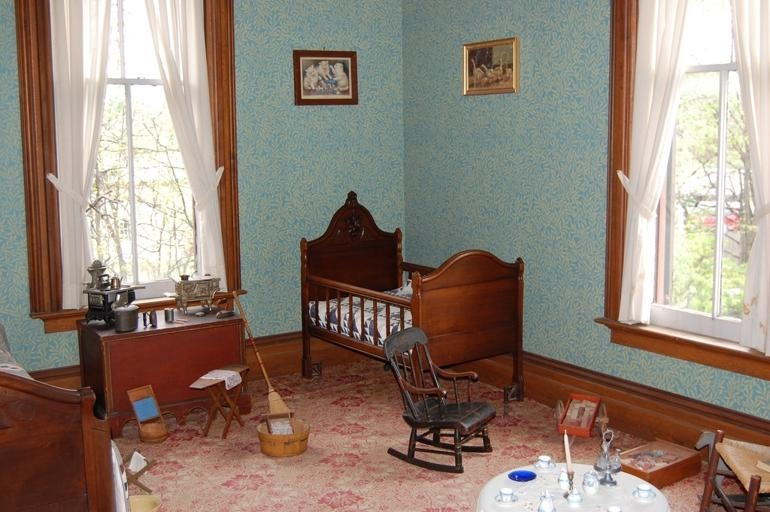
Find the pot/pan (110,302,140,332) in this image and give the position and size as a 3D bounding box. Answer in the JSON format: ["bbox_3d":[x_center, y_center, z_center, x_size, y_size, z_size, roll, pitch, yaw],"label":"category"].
[{"bbox_3d":[-2.175,0.513,4.897,0.206,0.183,0.204,-1,1,-41],"label":"pot/pan"}]

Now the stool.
[{"bbox_3d":[-1.524,1.206,5.049,0.361,0.602,0.642,5,6,38],"label":"stool"}]

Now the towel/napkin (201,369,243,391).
[{"bbox_3d":[-1.388,1.046,4.958,0.311,0.121,0.240,-1,13,3],"label":"towel/napkin"}]

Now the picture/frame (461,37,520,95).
[{"bbox_3d":[1.034,-1.850,5.645,0.049,0.472,0.620,-11,14,-40],"label":"picture/frame"}]

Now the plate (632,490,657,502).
[{"bbox_3d":[1.413,1.314,3.197,0.066,0.016,0.068,-1,9,3],"label":"plate"}]

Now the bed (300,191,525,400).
[{"bbox_3d":[0.172,0.462,5.956,1.388,1.815,2.113,-7,9,-33],"label":"bed"}]

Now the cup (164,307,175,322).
[{"bbox_3d":[-1.905,0.521,5.178,0.110,0.123,0.111,1,-2,0],"label":"cup"}]

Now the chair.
[{"bbox_3d":[0.420,1.099,4.497,0.715,0.991,0.559,-1,3,40],"label":"chair"}]

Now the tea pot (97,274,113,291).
[{"bbox_3d":[-2.420,0.222,5.060,0.129,0.150,0.126,0,-2,0],"label":"tea pot"}]

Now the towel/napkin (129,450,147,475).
[{"bbox_3d":[-1.806,1.503,4.271,0.140,0.139,0.037,33,-34,-24],"label":"towel/napkin"}]

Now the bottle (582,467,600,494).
[{"bbox_3d":[1.150,1.267,3.307,0.094,0.153,0.098,-5,1,0],"label":"bottle"}]

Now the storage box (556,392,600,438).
[{"bbox_3d":[1.603,1.327,4.887,0.334,0.289,0.501,6,15,28],"label":"storage box"}]

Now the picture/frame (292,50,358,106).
[{"bbox_3d":[-0.678,-1.927,6.252,0.624,0.518,0.049,-2,4,-26],"label":"picture/frame"}]

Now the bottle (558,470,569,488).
[{"bbox_3d":[1.019,1.268,3.334,0.068,0.102,0.069,1,0,0],"label":"bottle"}]
